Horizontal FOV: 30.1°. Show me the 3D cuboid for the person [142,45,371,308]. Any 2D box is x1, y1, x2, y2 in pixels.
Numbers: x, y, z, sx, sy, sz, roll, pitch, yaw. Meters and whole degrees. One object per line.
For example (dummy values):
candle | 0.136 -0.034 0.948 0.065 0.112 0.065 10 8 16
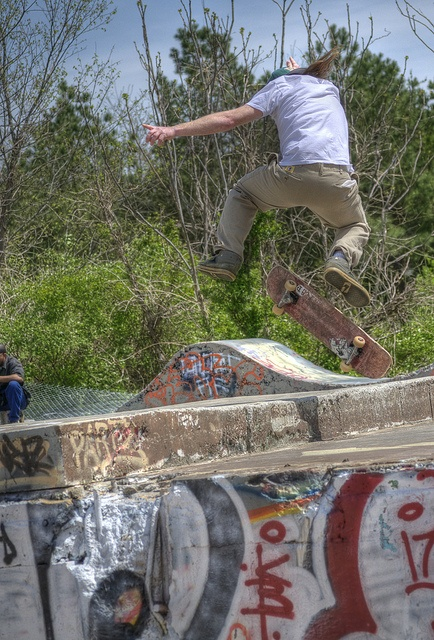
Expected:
person | 0.428 -0.734 4.474 0.738 1.362 0.764 -9 0 -7
